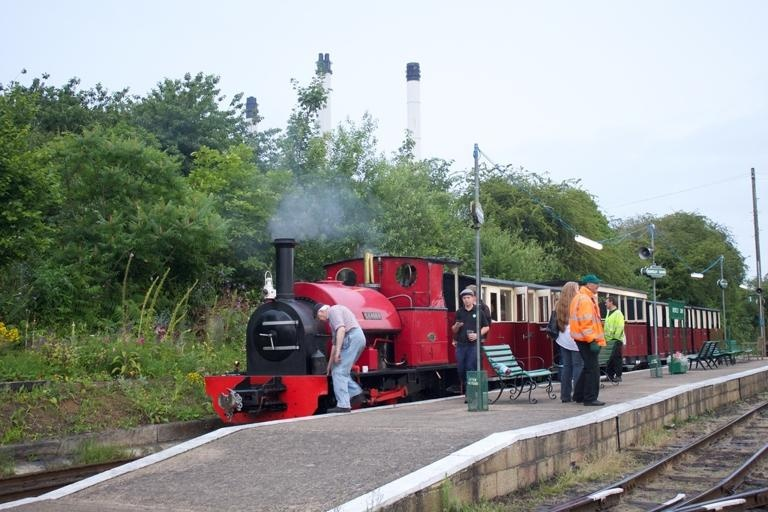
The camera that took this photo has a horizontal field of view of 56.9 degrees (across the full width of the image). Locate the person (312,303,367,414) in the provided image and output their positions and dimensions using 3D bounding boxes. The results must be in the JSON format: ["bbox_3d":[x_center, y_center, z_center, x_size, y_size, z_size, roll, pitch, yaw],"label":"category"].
[{"bbox_3d":[-0.895,2.123,14.826,0.953,2.198,0.511,1,-9,-5],"label":"person"}]

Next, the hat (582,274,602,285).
[{"bbox_3d":[5.596,0.632,19.030,0.494,0.292,0.335,2,3,-10],"label":"hat"}]

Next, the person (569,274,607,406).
[{"bbox_3d":[4.231,1.736,14.705,0.667,2.669,0.434,-1,-9,11],"label":"person"}]

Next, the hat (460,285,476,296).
[{"bbox_3d":[2.009,0.823,16.787,0.272,0.161,0.386,-1,-3,20],"label":"hat"}]

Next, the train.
[{"bbox_3d":[1.836,2.022,19.570,3.460,3.705,17.815,-8,-12,36],"label":"train"}]

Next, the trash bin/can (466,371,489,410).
[{"bbox_3d":[1.851,2.762,14.501,0.439,0.779,0.456,-2,-6,14],"label":"trash bin/can"}]

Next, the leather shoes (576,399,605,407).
[{"bbox_3d":[4.284,3.014,14.501,0.447,0.208,0.159,-3,-3,9],"label":"leather shoes"}]
